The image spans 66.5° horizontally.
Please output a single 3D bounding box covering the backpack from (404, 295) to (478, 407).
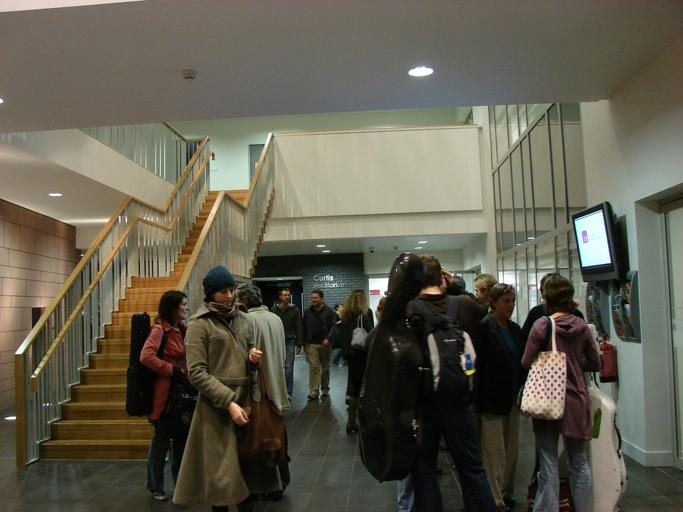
[{"bbox_3d":[0.663,0.585,3.332,0.479,0.700,0.221,5,-9,-23],"label":"backpack"}]

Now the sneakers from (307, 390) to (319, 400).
[{"bbox_3d":[-0.425,2.247,8.474,0.152,0.152,0.313,-4,-10,34],"label":"sneakers"}]

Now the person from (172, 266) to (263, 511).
[{"bbox_3d":[-0.845,0.910,3.601,0.503,1.689,0.332,5,-9,-19],"label":"person"}]

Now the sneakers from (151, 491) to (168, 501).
[{"bbox_3d":[-1.629,2.146,4.696,0.176,0.074,0.065,6,9,-4],"label":"sneakers"}]

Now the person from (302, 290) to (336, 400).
[{"bbox_3d":[-0.365,1.434,8.576,0.562,1.789,0.805,2,-9,-4],"label":"person"}]

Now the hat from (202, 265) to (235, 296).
[{"bbox_3d":[-0.869,0.167,3.770,0.207,0.217,0.198,-2,5,8],"label":"hat"}]
